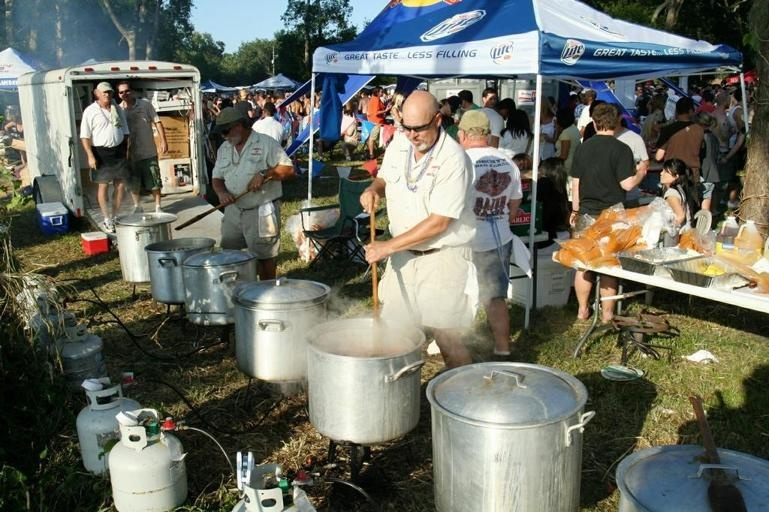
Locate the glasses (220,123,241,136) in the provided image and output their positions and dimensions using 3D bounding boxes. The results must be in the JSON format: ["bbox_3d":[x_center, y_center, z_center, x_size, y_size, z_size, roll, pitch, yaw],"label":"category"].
[{"bbox_3d":[-1.679,-1.386,8.624,0.154,0.075,0.122,-32,22,-19],"label":"glasses"}]

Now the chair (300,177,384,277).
[{"bbox_3d":[-0.600,-0.385,10.837,0.939,1.172,0.971,2,17,9],"label":"chair"}]

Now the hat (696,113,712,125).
[{"bbox_3d":[4.722,-2.071,11.795,0.182,0.227,0.237,-11,19,-20],"label":"hat"}]

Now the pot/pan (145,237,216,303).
[{"bbox_3d":[-2.246,0.181,8.745,0.743,0.632,0.829,5,13,26],"label":"pot/pan"}]

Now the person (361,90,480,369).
[{"bbox_3d":[0.341,-0.178,7.181,0.971,2.602,0.885,-2,12,6],"label":"person"}]

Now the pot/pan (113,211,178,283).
[{"bbox_3d":[-2.766,-0.085,9.175,0.734,0.782,0.793,10,16,34],"label":"pot/pan"}]

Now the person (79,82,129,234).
[{"bbox_3d":[-4.095,-1.564,11.750,0.649,1.954,0.491,-7,12,-17],"label":"person"}]

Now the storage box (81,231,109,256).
[{"bbox_3d":[-4.250,-0.227,11.662,0.350,0.310,0.336,-8,16,-35],"label":"storage box"}]

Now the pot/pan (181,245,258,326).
[{"bbox_3d":[-1.641,0.216,8.084,0.745,0.735,0.713,4,11,24],"label":"pot/pan"}]

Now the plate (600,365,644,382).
[{"bbox_3d":[2.422,1.215,8.111,0.366,0.098,0.344,5,15,34],"label":"plate"}]

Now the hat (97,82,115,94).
[{"bbox_3d":[-4.081,-2.440,11.502,0.168,0.122,0.227,-7,11,-41],"label":"hat"}]

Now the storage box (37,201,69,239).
[{"bbox_3d":[-5.323,-0.604,12.800,0.459,0.449,0.555,-8,13,-23],"label":"storage box"}]

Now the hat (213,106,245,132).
[{"bbox_3d":[-1.752,-1.458,8.694,0.386,0.210,0.291,-1,42,14],"label":"hat"}]
